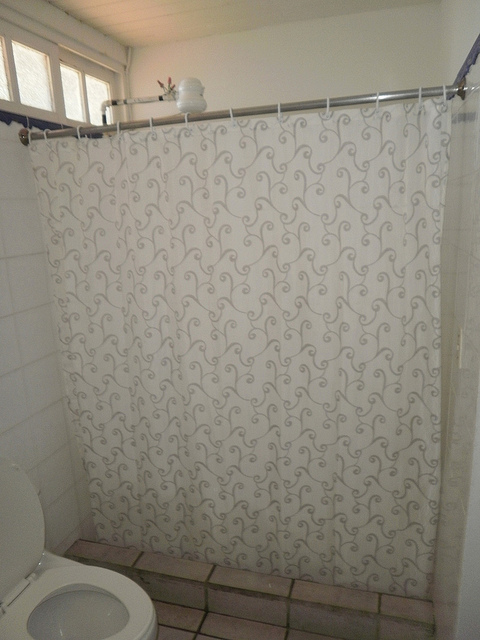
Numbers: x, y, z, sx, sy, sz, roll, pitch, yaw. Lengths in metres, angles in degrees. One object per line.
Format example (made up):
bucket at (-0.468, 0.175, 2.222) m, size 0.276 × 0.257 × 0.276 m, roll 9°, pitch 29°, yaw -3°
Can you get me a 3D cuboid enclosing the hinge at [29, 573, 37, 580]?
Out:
hinge at (-0.648, 0.799, 1.747) m, size 0.017 × 0.016 × 0.013 m, roll 0°, pitch 12°, yaw 6°
